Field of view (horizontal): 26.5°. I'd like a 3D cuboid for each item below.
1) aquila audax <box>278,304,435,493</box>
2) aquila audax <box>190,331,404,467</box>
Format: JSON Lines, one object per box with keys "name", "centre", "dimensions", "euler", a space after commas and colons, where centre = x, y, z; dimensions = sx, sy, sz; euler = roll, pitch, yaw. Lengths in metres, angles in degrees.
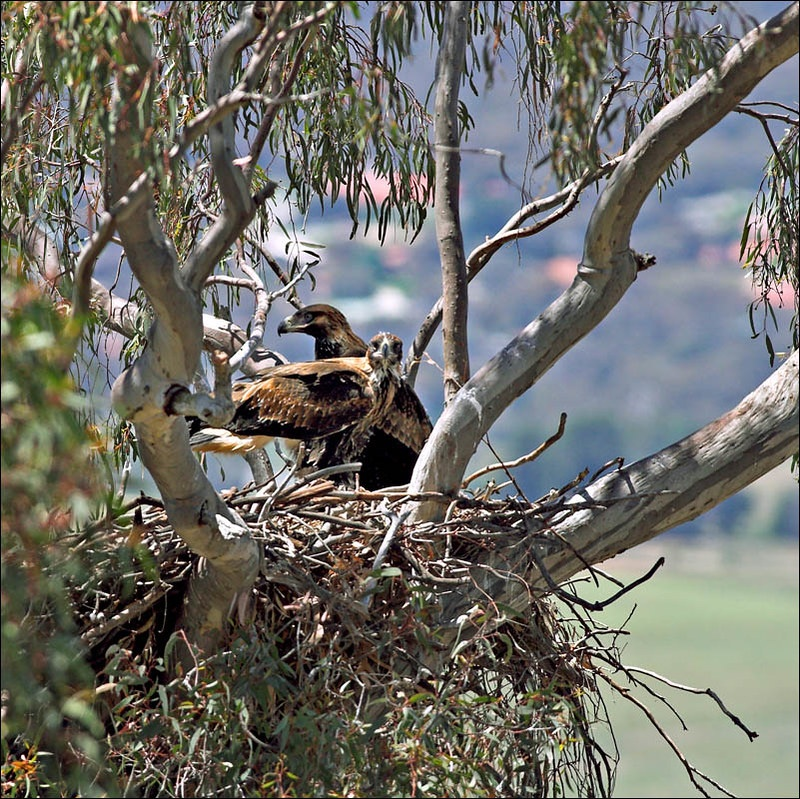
{"name": "aquila audax", "centre": [-0.123, -0.046, 6.304], "dimensions": [0.573, 0.687, 0.294], "euler": [-2, 26, -9]}
{"name": "aquila audax", "centre": [-0.429, -0.014, 6.192], "dimensions": [0.869, 0.592, 0.331], "euler": [4, 5, -2]}
